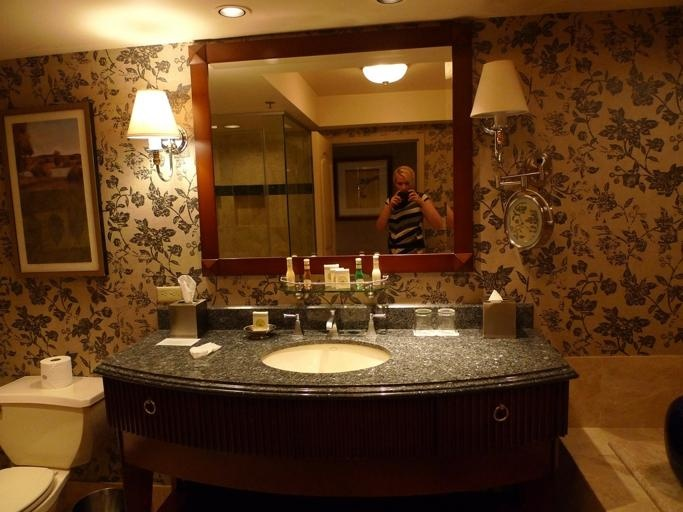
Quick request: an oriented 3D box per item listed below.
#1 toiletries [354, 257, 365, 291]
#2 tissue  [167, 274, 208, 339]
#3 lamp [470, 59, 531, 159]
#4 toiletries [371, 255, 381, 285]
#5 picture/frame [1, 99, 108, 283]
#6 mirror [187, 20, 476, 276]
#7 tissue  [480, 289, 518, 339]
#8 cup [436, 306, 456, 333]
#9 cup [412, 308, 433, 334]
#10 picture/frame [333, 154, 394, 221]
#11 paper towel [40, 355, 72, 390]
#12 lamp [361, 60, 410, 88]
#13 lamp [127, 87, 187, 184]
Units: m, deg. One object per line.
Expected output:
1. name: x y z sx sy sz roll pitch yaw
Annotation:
1. toiletries: 0.094 0.086 2.860 0.046 0.162 0.131 -3 5 1
2. tissue : -0.811 0.266 2.888 0.199 0.323 0.115 -4 5 -17
3. lamp: 0.780 -0.719 2.707 0.272 0.476 0.268 -1 5 19
4. toiletries: 0.184 0.062 2.857 0.049 0.150 0.116 -2 5 5
5. picture/frame: -1.622 -0.363 3.078 0.551 0.940 0.038 -2 5 9
6. mirror: 0.007 -0.612 2.855 1.238 1.090 0.057 0 4 6
7. tissue : 0.772 0.304 2.698 0.156 0.206 0.300 0 6 9
8. cup: 0.538 0.331 2.845 0.107 0.123 0.106 0 -1 0
9. cup: 0.418 0.332 2.879 0.108 0.172 0.117 -2 6 0
10. picture/frame: 0.115 -0.379 2.848 0.303 0.332 0.022 1 7 -2
11. paper towel: -1.577 0.643 3.026 0.158 0.144 0.156 -1 7 2
12. lamp: 0.226 -0.931 2.820 0.127 0.075 0.149 10 15 41
13. lamp: -0.980 -0.630 2.894 0.252 0.457 0.296 6 13 38
